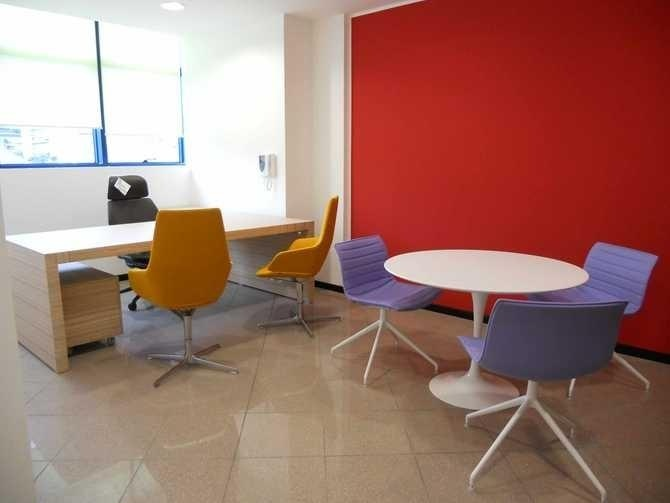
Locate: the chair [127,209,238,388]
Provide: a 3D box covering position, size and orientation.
[{"bbox_3d":[-1.123,0.267,3.625,0.673,1.229,0.583,-5,15,-20],"label":"chair"}]

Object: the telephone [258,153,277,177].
[{"bbox_3d":[-0.773,-0.966,5.521,0.107,0.255,0.349,-12,18,-39],"label":"telephone"}]
